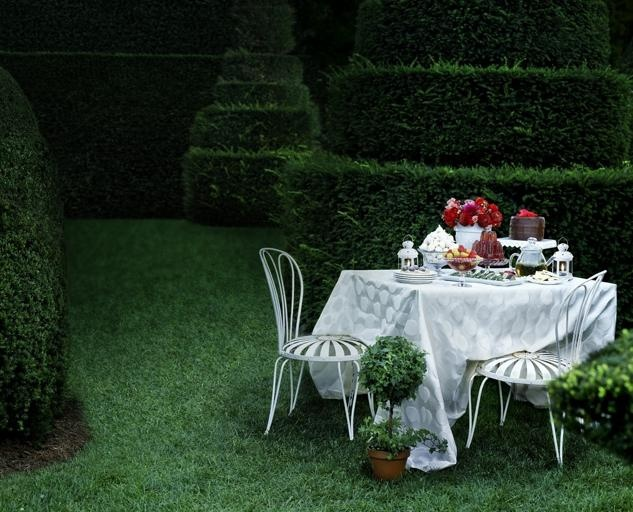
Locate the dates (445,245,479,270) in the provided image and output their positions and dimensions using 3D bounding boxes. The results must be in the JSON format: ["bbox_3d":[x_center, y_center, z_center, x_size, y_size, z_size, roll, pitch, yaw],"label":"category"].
[{"bbox_3d":[1.081,0.049,5.706,0.178,0.143,0.194,6,-6,-7],"label":"dates"}]

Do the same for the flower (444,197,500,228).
[{"bbox_3d":[1.299,-0.353,6.351,0.318,0.204,0.345,0,1,5],"label":"flower"}]

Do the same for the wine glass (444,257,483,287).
[{"bbox_3d":[1.083,0.123,5.712,0.206,0.181,0.211,-1,1,-23],"label":"wine glass"}]

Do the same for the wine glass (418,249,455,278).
[{"bbox_3d":[0.925,0.076,5.963,0.191,0.149,0.207,1,-6,3],"label":"wine glass"}]

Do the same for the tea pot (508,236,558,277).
[{"bbox_3d":[1.706,0.018,5.997,0.333,0.391,0.259,0,2,11],"label":"tea pot"}]

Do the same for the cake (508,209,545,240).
[{"bbox_3d":[1.722,-0.255,6.207,0.234,0.242,0.248,4,6,34],"label":"cake"}]

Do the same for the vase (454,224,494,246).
[{"bbox_3d":[1.257,-0.143,6.211,0.192,0.215,0.208,1,-1,2],"label":"vase"}]

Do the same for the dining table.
[{"bbox_3d":[1.008,0.707,6.353,2.071,1.510,1.823,0,2,-7],"label":"dining table"}]

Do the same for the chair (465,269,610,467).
[{"bbox_3d":[1.551,0.685,5.690,0.891,1.694,0.861,0,3,-13],"label":"chair"}]

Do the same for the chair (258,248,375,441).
[{"bbox_3d":[-0.027,0.675,5.956,0.816,1.443,0.735,0,5,4],"label":"chair"}]
